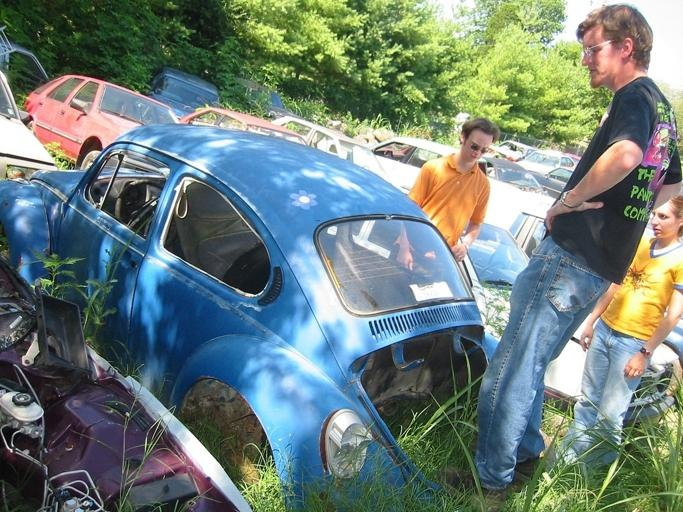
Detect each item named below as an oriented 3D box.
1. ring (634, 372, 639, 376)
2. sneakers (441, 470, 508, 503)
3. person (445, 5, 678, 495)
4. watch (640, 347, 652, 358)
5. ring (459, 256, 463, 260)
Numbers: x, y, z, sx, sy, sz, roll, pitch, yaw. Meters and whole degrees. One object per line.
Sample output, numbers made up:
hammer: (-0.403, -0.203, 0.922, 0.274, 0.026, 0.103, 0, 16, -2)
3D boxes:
ring: (2.265, 0.901, 3.632, 0.023, 0.026, 0.026, 2, 2, 12)
sneakers: (0.831, 1.447, 2.992, 0.400, 0.247, 0.109, -14, 60, -25)
person: (1.413, 0.039, 2.923, 0.739, 2.817, 0.584, 13, 13, -25)
watch: (2.328, 0.737, 3.619, 0.020, 0.071, 0.073, -35, 79, -24)
ring: (1.095, 0.009, 4.338, 0.022, 0.035, 0.011, -32, 81, -26)
